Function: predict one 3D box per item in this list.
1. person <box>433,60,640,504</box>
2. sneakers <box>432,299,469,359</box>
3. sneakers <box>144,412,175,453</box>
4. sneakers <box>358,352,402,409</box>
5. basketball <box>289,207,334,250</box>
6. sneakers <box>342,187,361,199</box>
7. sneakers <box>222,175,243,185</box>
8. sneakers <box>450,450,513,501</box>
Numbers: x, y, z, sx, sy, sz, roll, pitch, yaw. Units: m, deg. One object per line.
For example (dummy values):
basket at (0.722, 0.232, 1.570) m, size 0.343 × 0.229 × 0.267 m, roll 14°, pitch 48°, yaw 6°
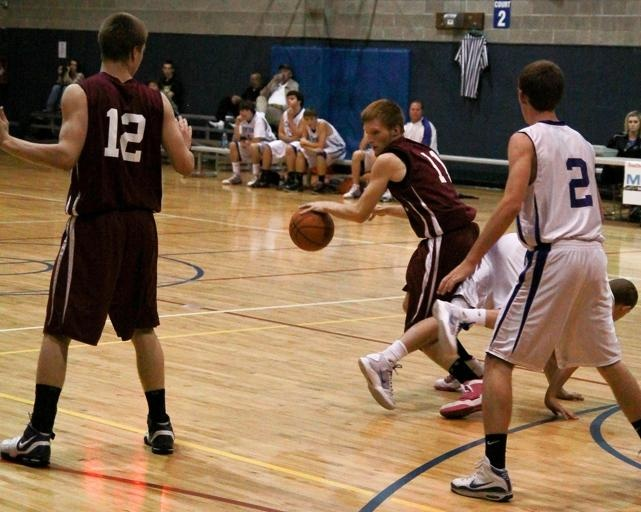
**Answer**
person at (0.891, 0.073, 2.569) m, size 0.757 × 1.661 × 0.429 m, roll 1°, pitch 7°, yaw -7°
sneakers at (0.629, 0.346, 3.202) m, size 0.200 × 0.310 × 0.100 m, roll 3°, pitch -13°, yaw -5°
sneakers at (-0.678, 0.762, 2.788) m, size 0.067 × 0.093 × 0.207 m, roll -2°, pitch 4°, yaw -13°
sneakers at (0.301, 0.650, 3.297) m, size 0.232 × 0.327 × 0.097 m, roll -3°, pitch 9°, yaw -37°
basketball at (-0.020, -0.143, 3.671) m, size 0.212 × 0.231 × 0.216 m, roll 5°, pitch -1°, yaw -43°
sneakers at (0.606, -1.222, 12.819) m, size 0.152 × 0.188 × 0.459 m, roll -1°, pitch 2°, yaw 34°
sneakers at (-1.906, -1.664, 14.393) m, size 0.466 × 0.218 × 0.176 m, roll -3°, pitch 5°, yaw -8°
sneakers at (0.615, 0.841, 2.558) m, size 0.291 × 0.214 × 0.104 m, roll 5°, pitch 2°, yaw 21°
